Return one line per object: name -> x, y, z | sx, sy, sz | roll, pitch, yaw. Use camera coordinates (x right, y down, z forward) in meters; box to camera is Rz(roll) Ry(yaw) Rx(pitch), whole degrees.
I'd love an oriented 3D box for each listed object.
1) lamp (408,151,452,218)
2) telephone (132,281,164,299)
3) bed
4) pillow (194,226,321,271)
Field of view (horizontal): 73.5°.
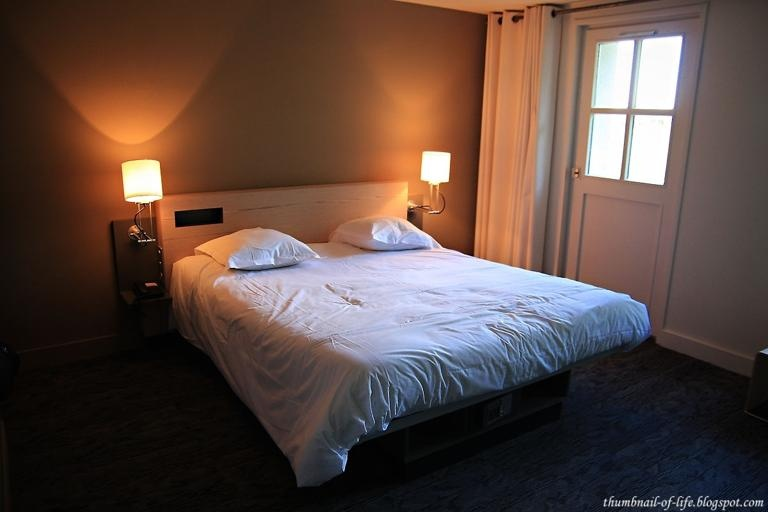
lamp -> 0.451, -0.677, 5.402 | 0.507, 0.698, 0.277 | 3, 0, 31
telephone -> -1.982, 0.282, 4.329 | 0.157, 0.051, 0.217 | -7, 20, -31
bed -> 0.052, 0.298, 4.158 | 2.778, 1.522, 2.785 | -11, 18, -34
pillow -> -1.078, -0.069, 4.325 | 0.504, 0.156, 0.538 | 14, 15, 43
